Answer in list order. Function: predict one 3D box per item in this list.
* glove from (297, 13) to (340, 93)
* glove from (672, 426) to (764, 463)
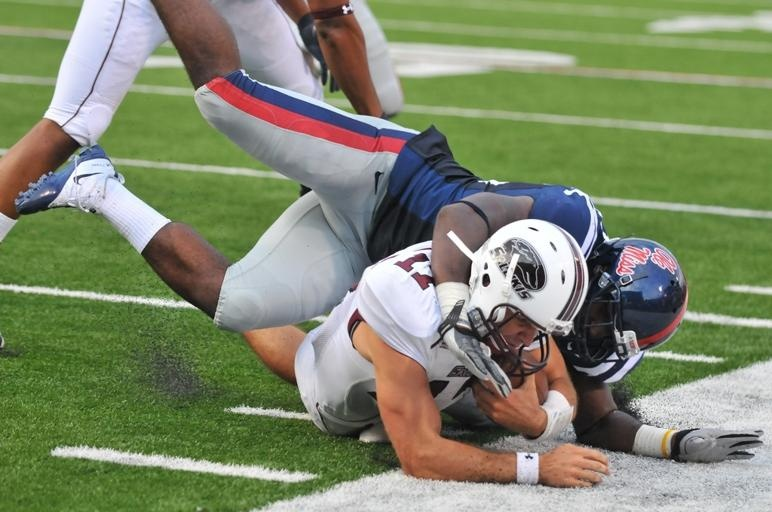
[{"bbox_3d":[-0.354,-1.221,5.963,0.202,0.177,0.632,-22,53,-6],"label":"glove"},{"bbox_3d":[1.502,0.884,4.604,0.387,0.156,0.074,5,12,2],"label":"glove"}]
